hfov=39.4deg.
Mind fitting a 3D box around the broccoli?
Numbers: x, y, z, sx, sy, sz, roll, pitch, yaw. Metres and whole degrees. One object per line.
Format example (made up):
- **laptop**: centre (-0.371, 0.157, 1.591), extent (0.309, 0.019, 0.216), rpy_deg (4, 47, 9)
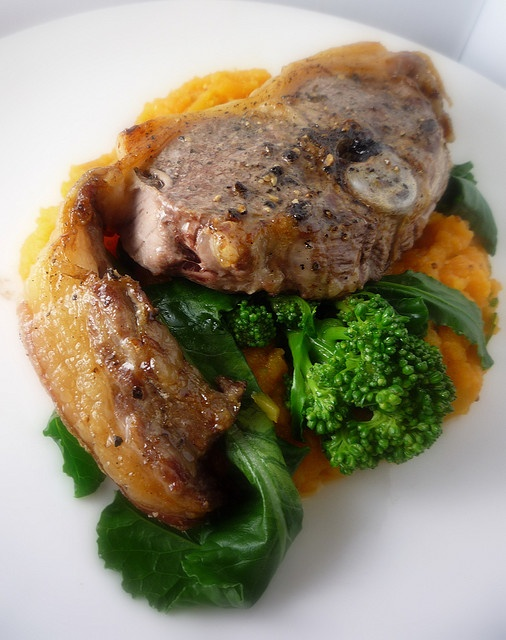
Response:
- **broccoli**: centre (0.341, 0.177, 2.430), extent (0.535, 0.515, 0.716), rpy_deg (-26, 61, -20)
